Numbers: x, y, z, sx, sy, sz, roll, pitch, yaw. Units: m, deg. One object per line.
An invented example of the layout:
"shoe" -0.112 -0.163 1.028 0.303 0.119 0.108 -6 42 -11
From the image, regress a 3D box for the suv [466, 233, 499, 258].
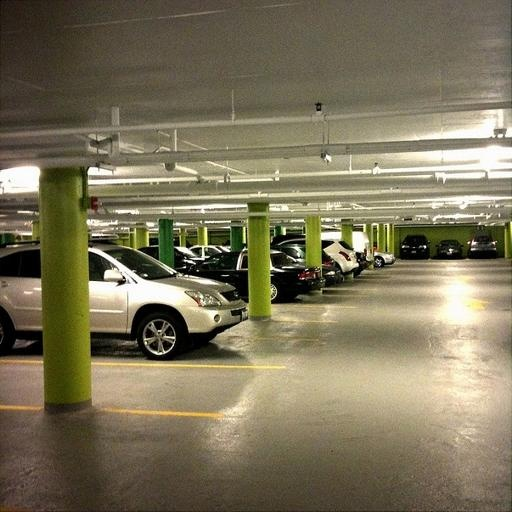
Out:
"suv" 19.755 -0.888 42.251 1.618 1.150 2.757 0 7 13

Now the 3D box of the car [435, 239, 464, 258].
"car" 17.813 -0.608 44.048 1.915 1.652 2.199 -2 2 7

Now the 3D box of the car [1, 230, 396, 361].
"car" -2.242 0.668 8.381 4.170 1.556 1.901 -2 0 4
